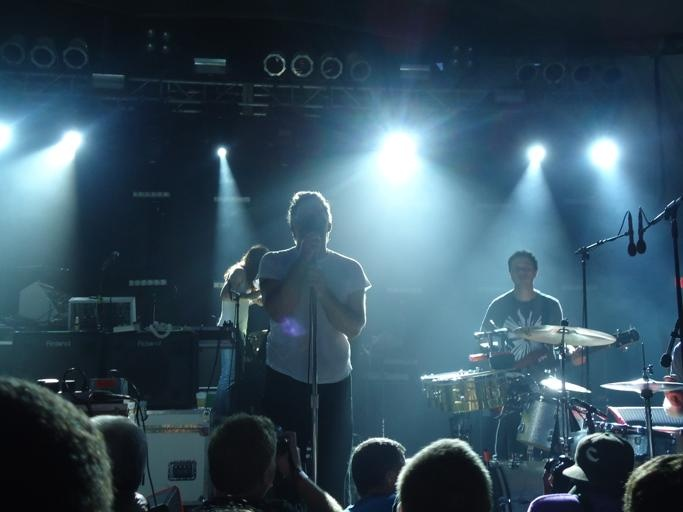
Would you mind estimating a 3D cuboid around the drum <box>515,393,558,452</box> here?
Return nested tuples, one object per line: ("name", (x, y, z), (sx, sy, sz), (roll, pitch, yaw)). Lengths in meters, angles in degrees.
("drum", (2.066, 1.706, 7.964), (0.451, 0.519, 0.197), (-2, -9, 43))

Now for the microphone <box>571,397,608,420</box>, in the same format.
("microphone", (2.555, 1.548, 7.906), (0.311, 0.083, 0.320), (26, -1, 14))

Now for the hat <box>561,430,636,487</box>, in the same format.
("hat", (2.079, 1.626, 6.178), (0.483, 0.295, 0.349), (3, -8, 0))

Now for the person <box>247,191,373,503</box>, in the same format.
("person", (-0.257, 0.730, 6.540), (0.944, 2.605, 0.385), (4, -6, 1))

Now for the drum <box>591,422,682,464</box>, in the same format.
("drum", (2.689, 1.691, 6.966), (0.603, 0.319, 0.820), (-4, -11, 34))

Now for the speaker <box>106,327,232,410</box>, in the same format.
("speaker", (-2.032, 1.217, 8.772), (1.407, 1.044, 0.845), (0, -7, -5))

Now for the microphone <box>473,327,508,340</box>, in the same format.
("microphone", (1.802, 0.913, 9.138), (0.276, 0.089, 0.284), (-2, -10, -5))

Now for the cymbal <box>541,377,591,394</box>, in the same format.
("cymbal", (2.380, 1.355, 8.077), (0.486, 0.143, 0.599), (4, -7, 2))
